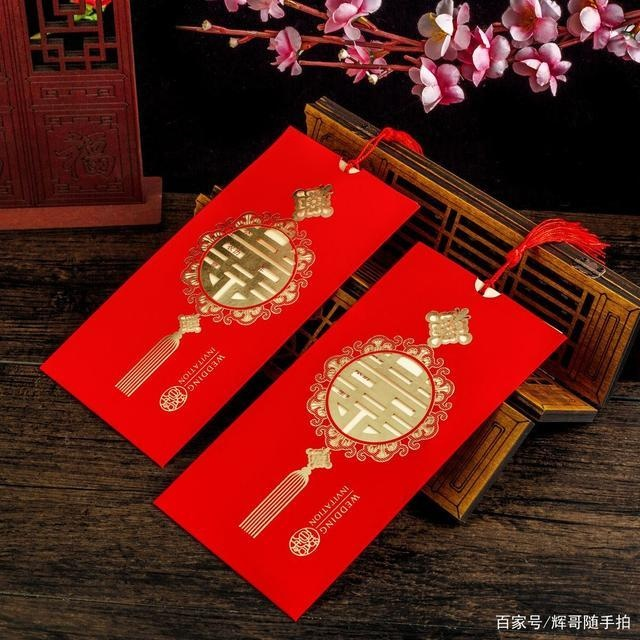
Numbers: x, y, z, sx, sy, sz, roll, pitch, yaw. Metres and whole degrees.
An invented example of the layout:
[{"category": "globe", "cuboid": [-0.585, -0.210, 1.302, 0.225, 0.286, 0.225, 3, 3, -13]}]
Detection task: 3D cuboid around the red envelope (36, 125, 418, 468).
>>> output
[{"category": "red envelope", "cuboid": [-0.059, -0.021, 0.908, 0.576, 0.063, 0.248, -41, 66, -9]}]
